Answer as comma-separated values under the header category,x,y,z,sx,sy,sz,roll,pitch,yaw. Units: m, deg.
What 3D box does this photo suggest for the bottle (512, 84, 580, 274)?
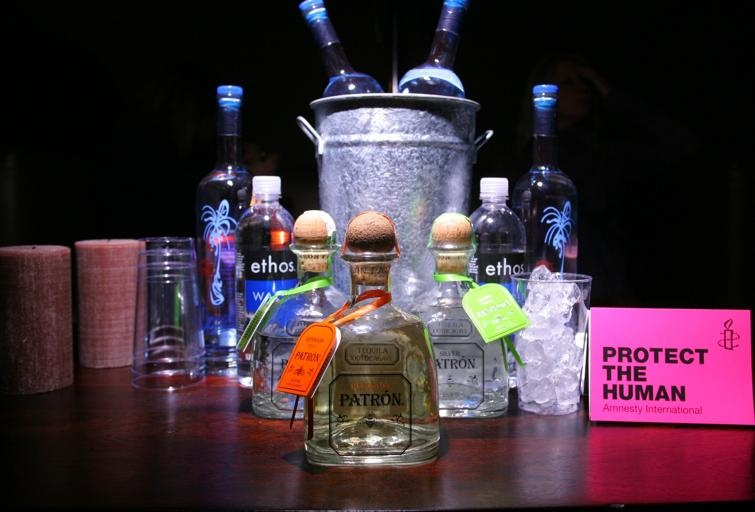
category,x,y,z,sx,sy,sz,roll,pitch,yaw
bottle,0.367,-0.167,1.696,0.138,0.405,0.064,1,-2,8

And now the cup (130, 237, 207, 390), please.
category,x,y,z,sx,sy,sz,roll,pitch,yaw
cup,-0.442,0.122,1.680,0.161,0.324,0.112,2,-2,-24

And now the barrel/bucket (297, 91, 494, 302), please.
category,x,y,z,sx,sy,sz,roll,pitch,yaw
barrel/bucket,0.042,-0.094,1.710,0.359,0.450,0.366,2,3,0
